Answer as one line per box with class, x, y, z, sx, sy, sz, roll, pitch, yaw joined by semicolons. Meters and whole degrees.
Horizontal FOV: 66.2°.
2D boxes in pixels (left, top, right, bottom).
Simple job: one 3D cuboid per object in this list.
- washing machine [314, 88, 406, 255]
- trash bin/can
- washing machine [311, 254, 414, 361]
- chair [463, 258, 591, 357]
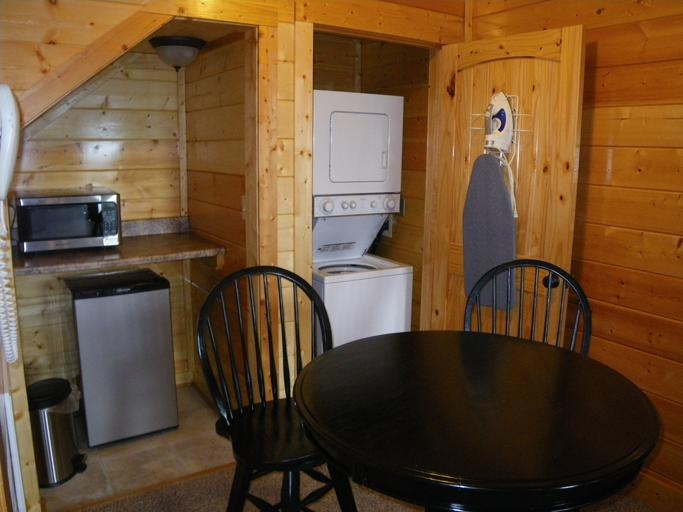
washing machine;0.049;-0.494;3.412;0.758;1.097;0.323;-11;14;-34
trash bin/can;-1.616;0.987;2.976;0.248;0.508;0.297;-9;13;-27
washing machine;0.060;0.326;3.552;0.563;0.823;0.512;-4;10;-29
chair;0.955;0.250;2.604;0.363;0.554;0.350;10;19;35
